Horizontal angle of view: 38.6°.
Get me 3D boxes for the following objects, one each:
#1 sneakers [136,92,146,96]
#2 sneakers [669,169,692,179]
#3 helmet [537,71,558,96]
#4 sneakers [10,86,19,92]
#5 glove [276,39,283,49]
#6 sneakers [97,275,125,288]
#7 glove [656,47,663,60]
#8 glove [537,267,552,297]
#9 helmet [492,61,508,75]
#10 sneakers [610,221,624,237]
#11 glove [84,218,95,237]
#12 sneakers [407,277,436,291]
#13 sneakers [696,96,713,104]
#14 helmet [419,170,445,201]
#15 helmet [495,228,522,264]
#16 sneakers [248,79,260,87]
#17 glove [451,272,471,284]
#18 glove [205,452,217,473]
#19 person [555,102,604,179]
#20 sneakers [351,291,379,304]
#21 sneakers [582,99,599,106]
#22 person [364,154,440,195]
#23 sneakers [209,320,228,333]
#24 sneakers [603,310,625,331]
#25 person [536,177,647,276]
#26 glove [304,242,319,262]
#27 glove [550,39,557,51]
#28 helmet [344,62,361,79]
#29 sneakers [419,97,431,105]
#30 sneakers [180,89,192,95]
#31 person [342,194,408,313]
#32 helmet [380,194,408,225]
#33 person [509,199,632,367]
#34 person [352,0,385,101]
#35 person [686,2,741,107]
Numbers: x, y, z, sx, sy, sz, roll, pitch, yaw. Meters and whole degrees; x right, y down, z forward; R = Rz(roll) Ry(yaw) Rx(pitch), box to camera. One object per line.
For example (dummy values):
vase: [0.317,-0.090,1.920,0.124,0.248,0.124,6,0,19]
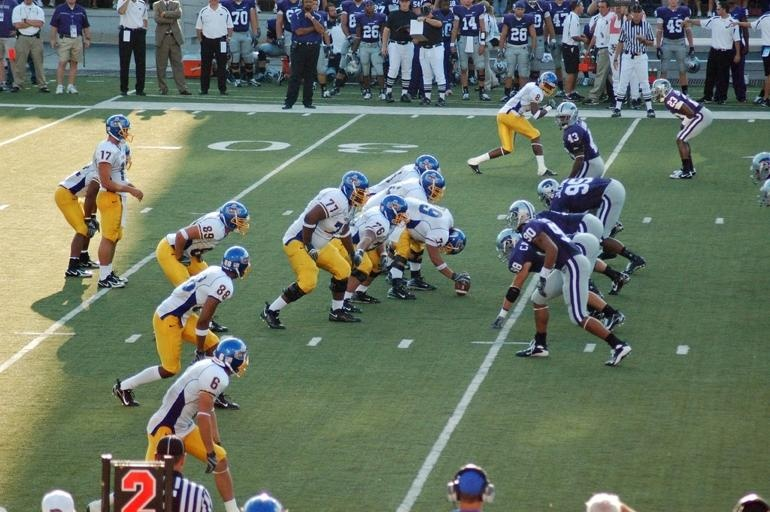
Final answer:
sneakers: [-5.210,-3.481,23.554,0.263,0.097,0.079,0,41,-8]
sneakers: [4.806,-1.325,17.767,0.298,0.105,0.154,4,9,10]
helmet: [2.647,-2.809,17.892,0.280,0.313,0.401,0,13,4]
sneakers: [-7.887,-3.550,23.434,0.089,0.074,0.196,1,1,-35]
glove: [-2.391,-4.849,25.038,0.195,0.171,0.418,-1,5,0]
sneakers: [-3.479,0.327,14.055,0.238,0.104,0.217,-2,8,-4]
glove: [5.838,-4.304,23.314,0.084,0.194,0.150,2,1,-19]
glove: [1.765,0.282,12.253,0.150,0.345,0.109,-5,15,-13]
helmet: [2.486,-4.056,23.666,0.238,0.263,0.286,2,12,9]
sneakers: [3.170,-0.363,15.016,0.148,0.160,0.413,-3,-5,9]
glove: [-3.807,-0.364,14.214,0.097,0.246,0.122,-2,4,-2]
sneakers: [0.450,0.372,14.168,0.458,0.185,0.140,1,11,-2]
sneakers: [6.620,-3.219,22.734,0.368,0.134,0.126,5,15,1]
helmet: [0.601,-0.896,14.047,0.293,0.377,0.363,-1,13,1]
helmet: [1.372,-0.127,12.917,0.399,0.352,0.284,-16,9,9]
sneakers: [-3.005,-3.986,25.348,0.349,0.134,0.114,18,45,22]
glove: [0.960,0.286,13.837,0.206,0.085,0.146,14,-10,0]
glove: [-1.562,1.862,9.949,0.122,0.182,0.104,3,11,19]
person: [2.770,-1.654,15.774,0.656,1.067,0.659,-12,17,-36]
sneakers: [-0.255,0.537,13.891,0.427,0.155,0.134,1,3,-3]
sneakers: [4.291,-3.204,22.921,0.330,0.087,0.121,3,2,-17]
person: [0.244,-1.030,14.658,0.934,0.322,0.593,-5,-8,28]
sneakers: [-1.968,0.833,12.964,0.272,0.105,0.085,7,16,-6]
sneakers: [2.636,0.755,12.715,0.190,0.132,0.382,4,-28,-29]
person: [2.297,-0.412,14.324,1.724,0.984,0.916,4,37,34]
glove: [-0.861,-0.053,12.934,0.052,0.163,0.170,-23,12,9]
glove: [3.689,-4.650,24.118,0.091,0.250,0.323,3,14,18]
helmet: [-0.763,-4.192,24.567,0.320,0.299,0.235,-21,57,-2]
sneakers: [0.861,-3.241,23.049,0.131,0.150,0.243,-14,26,-39]
sneakers: [-4.292,-3.513,23.637,0.275,0.079,0.175,-2,-11,-12]
person: [-0.136,-0.045,13.524,0.664,1.289,0.810,20,35,-17]
helmet: [0.098,-0.578,13.369,0.374,0.309,0.278,25,16,-18]
person: [2.004,0.708,13.195,0.986,1.496,0.470,-30,32,28]
person: [-0.331,-4.521,24.076,0.679,2.114,1.110,-2,14,-1]
person: [6.838,-4.115,22.338,0.731,2.057,0.507,5,16,23]
